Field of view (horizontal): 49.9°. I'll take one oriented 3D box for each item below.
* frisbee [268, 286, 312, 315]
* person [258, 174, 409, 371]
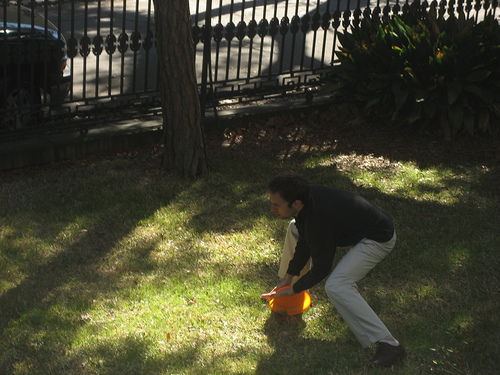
[{"bbox_3d":[0.431,1.204,5.600,0.309,0.101,0.376,1,34,6],"label":"frisbee"},{"bbox_3d":[0.829,0.747,5.047,1.223,1.770,0.733,-4,16,-3],"label":"person"}]
